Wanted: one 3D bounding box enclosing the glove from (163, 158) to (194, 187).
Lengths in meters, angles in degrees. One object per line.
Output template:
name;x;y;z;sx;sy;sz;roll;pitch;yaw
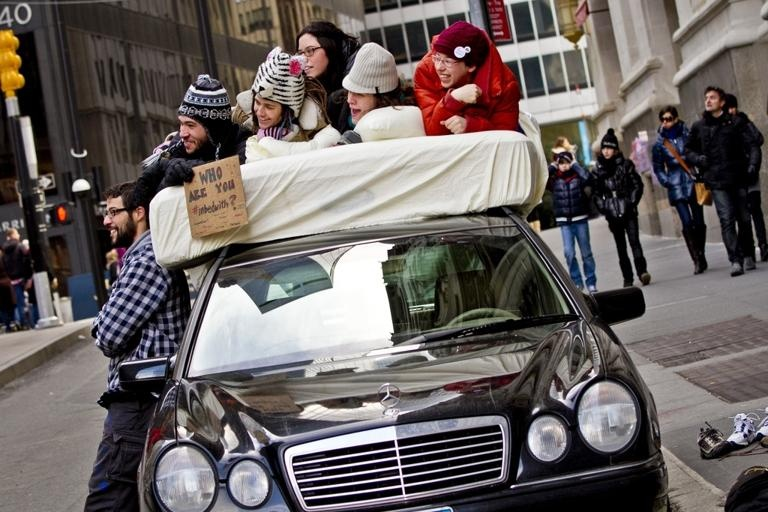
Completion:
glove;-1.371;-0.535;5.522;0.170;0.187;0.075;0;-2;20

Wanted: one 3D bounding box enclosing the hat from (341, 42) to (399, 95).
hat;-0.077;-1.471;6.593;0.436;0.305;0.351;-3;15;-31

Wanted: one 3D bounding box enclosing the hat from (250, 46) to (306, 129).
hat;-0.822;-1.329;6.483;0.413;0.414;0.289;-10;5;-6

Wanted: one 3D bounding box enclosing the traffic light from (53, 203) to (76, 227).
traffic light;-10.264;-1.261;26.304;0.910;0.988;0.705;0;-2;-20

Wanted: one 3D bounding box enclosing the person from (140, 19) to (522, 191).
person;-0.232;-1.209;6.404;2.653;0.803;1.265;-11;6;-10

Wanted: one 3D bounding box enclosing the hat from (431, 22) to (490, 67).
hat;0.641;-1.685;6.616;0.395;0.244;0.303;21;3;-20

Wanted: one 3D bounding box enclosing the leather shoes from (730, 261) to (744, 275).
leather shoes;5.021;0.200;11.626;0.180;0.192;0.203;-7;6;19

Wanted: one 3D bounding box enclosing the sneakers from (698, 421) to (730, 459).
sneakers;1.817;1.019;4.532;0.136;0.163;0.299;-8;6;14

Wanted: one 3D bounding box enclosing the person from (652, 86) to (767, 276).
person;5.067;-1.106;11.994;0.841;2.650;0.952;-9;5;-6

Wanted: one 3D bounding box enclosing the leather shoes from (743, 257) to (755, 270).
leather shoes;5.366;0.149;12.007;0.093;0.129;0.290;-3;-8;8

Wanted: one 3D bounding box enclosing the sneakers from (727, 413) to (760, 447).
sneakers;2.014;0.939;4.583;0.156;0.212;0.443;-6;-6;21

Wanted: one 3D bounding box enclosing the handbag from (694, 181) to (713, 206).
handbag;4.935;-0.934;12.619;0.123;0.316;0.277;-19;-16;20
